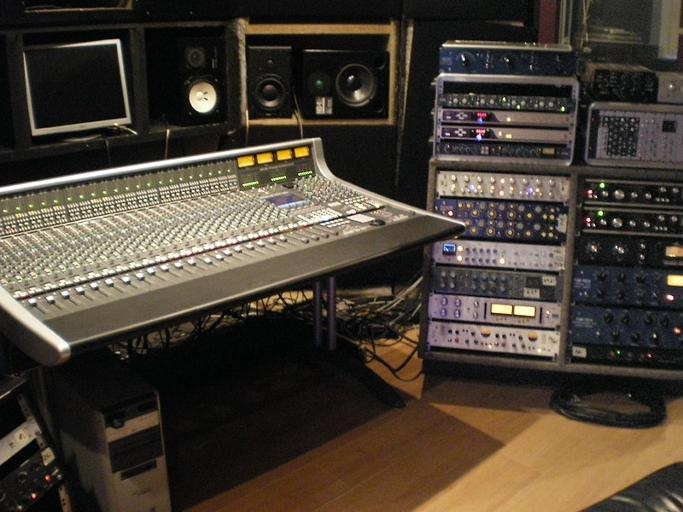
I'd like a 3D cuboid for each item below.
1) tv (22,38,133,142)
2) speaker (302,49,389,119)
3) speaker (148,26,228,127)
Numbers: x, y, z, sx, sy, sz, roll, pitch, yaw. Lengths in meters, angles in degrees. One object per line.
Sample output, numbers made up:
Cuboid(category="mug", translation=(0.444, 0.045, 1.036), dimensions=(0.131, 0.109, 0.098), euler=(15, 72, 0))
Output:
Cuboid(category="tv", translation=(-1.072, -0.677, 2.496), dimensions=(0.404, 0.343, 0.040), euler=(-12, 12, -33))
Cuboid(category="speaker", translation=(0.091, -1.038, 3.631), dimensions=(0.509, 0.373, 0.500), euler=(5, 25, 18))
Cuboid(category="speaker", translation=(-0.678, -0.834, 2.873), dimensions=(0.276, 0.391, 0.329), euler=(-6, 29, -14))
